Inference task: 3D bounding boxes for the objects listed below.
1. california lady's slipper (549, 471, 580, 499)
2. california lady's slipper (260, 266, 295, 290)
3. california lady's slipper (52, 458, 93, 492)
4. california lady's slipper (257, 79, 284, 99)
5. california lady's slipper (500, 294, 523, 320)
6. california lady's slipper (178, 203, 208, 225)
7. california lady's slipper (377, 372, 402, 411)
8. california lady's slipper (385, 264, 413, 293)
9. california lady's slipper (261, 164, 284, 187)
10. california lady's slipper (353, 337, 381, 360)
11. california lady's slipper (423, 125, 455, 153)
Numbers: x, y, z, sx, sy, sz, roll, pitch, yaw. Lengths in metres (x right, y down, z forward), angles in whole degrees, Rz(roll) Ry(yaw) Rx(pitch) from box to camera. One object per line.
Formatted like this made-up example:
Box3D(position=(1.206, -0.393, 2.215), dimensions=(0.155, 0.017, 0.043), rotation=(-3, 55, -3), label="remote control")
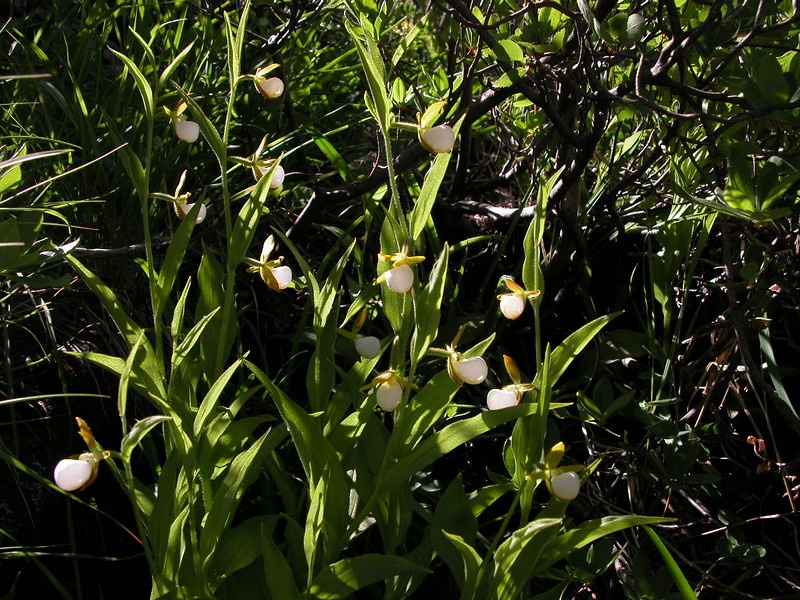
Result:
Box3D(position=(0.323, 0.370, 1.405), dimensions=(0.051, 0.046, 0.046), rotation=(39, 19, -50), label="california lady's slipper")
Box3D(position=(-0.261, -0.048, 1.500), dimensions=(0.055, 0.057, 0.028), rotation=(30, -22, -8), label="california lady's slipper")
Box3D(position=(-0.592, 0.315, 1.284), dimensions=(0.057, 0.055, 0.047), rotation=(-1, 6, -17), label="california lady's slipper")
Box3D(position=(-0.277, -0.441, 1.500), dimensions=(0.047, 0.039, 0.024), rotation=(45, 0, -9), label="california lady's slipper")
Box3D(position=(0.218, 0.013, 1.392), dimensions=(0.040, 0.039, 0.042), rotation=(2, 3, 3), label="california lady's slipper")
Box3D(position=(-0.435, -0.189, 1.504), dimensions=(0.047, 0.043, 0.045), rotation=(10, 12, 31), label="california lady's slipper")
Box3D(position=(-0.020, 0.176, 1.359), dimensions=(0.033, 0.084, 0.041), rotation=(4, -10, 0), label="california lady's slipper")
Box3D(position=(-0.001, -0.040, 1.328), dimensions=(0.041, 0.049, 0.049), rotation=(-5, 3, 10), label="california lady's slipper")
Box3D(position=(-0.261, -0.259, 1.477), dimensions=(0.043, 0.067, 0.049), rotation=(3, 9, -5), label="california lady's slipper")
Box3D(position=(-0.072, 0.104, 1.457), dimensions=(0.049, 0.038, 0.025), rotation=(47, 2, 11), label="california lady's slipper")
Box3D(position=(0.073, -0.306, 1.348), dimensions=(0.055, 0.050, 0.028), rotation=(28, 5, 4), label="california lady's slipper")
